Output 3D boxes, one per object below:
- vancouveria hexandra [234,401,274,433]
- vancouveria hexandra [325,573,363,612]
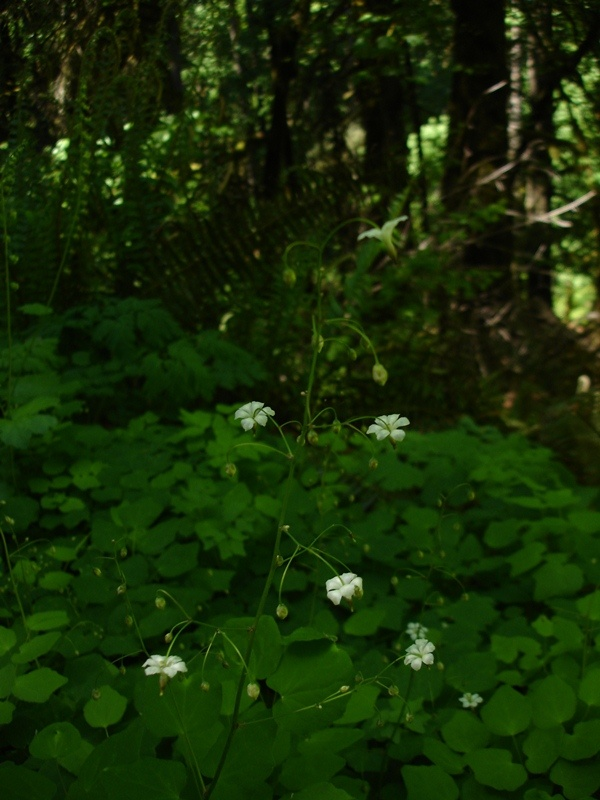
[{"bbox_3d":[-0.081,0.040,1.415,0.065,0.018,0.061,-25,51,-18],"label":"vancouveria hexandra"},{"bbox_3d":[0.075,0.327,1.320,0.053,0.070,0.109,-4,3,-3],"label":"vancouveria hexandra"}]
